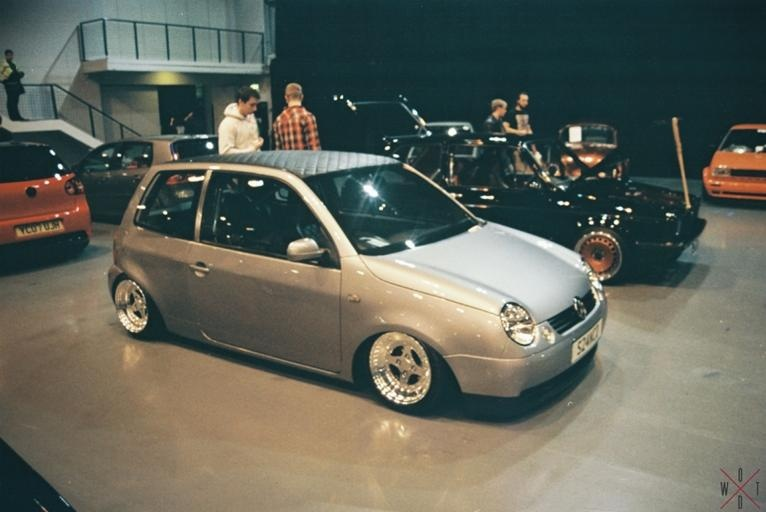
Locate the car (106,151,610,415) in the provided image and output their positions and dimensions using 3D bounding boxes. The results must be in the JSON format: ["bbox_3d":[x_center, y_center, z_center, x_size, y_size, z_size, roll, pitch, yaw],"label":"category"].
[{"bbox_3d":[-0.391,0.086,5.919,4.377,1.796,2.420,5,17,25],"label":"car"}]

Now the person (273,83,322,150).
[{"bbox_3d":[-1.376,-2.040,8.625,0.707,1.198,0.371,-4,42,-13],"label":"person"}]

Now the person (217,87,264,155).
[{"bbox_3d":[-2.058,-1.941,8.072,0.590,0.878,0.491,-5,20,-16],"label":"person"}]

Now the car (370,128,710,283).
[{"bbox_3d":[2.106,-0.956,8.187,3.952,1.234,1.927,9,19,18],"label":"car"}]

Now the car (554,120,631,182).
[{"bbox_3d":[4.152,-2.185,11.884,1.496,1.315,2.680,1,13,10],"label":"car"}]
